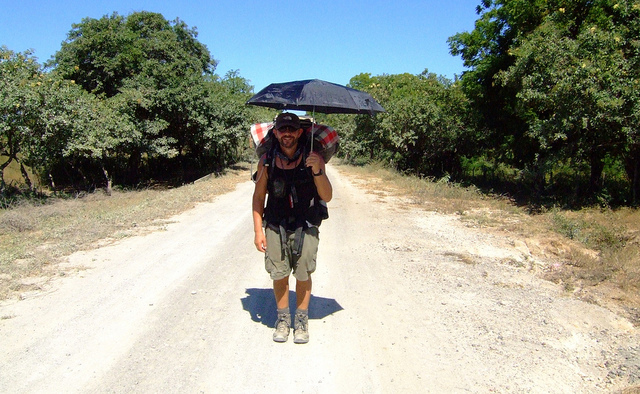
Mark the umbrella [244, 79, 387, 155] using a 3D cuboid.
[{"bbox_3d":[-0.038,-1.861,8.311,1.904,1.233,1.995,5,4,1],"label":"umbrella"}]

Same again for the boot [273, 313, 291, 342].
[{"bbox_3d":[-0.751,2.521,7.753,0.318,0.507,0.241,0,13,-5],"label":"boot"}]

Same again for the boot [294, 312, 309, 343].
[{"bbox_3d":[-0.350,2.521,7.728,0.285,0.555,0.210,0,13,-5],"label":"boot"}]
